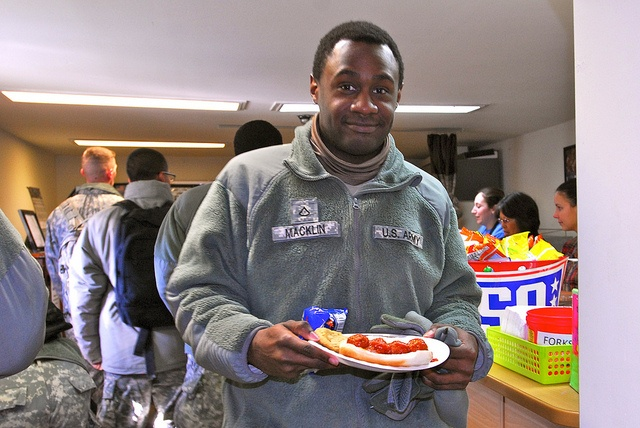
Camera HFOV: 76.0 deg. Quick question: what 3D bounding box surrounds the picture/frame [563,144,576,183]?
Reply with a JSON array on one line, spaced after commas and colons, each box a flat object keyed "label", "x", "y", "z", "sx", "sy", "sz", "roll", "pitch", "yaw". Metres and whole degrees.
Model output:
[{"label": "picture/frame", "x": 4.796, "y": -1.006, "z": 7.932, "sx": 0.147, "sy": 0.688, "sz": 0.568, "roll": 1, "pitch": 3, "yaw": 23}]

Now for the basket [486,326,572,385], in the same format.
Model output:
[{"label": "basket", "x": 0.849, "y": 0.551, "z": 1.685, "sx": 0.183, "sy": 0.107, "sz": 0.280, "roll": 3, "pitch": 1, "yaw": -18}]

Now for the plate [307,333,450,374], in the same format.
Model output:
[{"label": "plate", "x": 0.181, "y": 0.366, "z": 1.032, "sx": 0.201, "sy": 0.028, "sz": 0.203, "roll": 2, "pitch": 1, "yaw": 24}]
